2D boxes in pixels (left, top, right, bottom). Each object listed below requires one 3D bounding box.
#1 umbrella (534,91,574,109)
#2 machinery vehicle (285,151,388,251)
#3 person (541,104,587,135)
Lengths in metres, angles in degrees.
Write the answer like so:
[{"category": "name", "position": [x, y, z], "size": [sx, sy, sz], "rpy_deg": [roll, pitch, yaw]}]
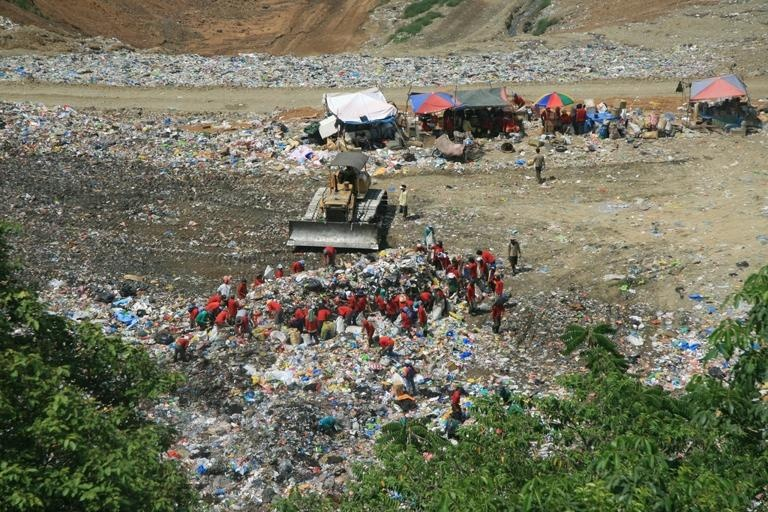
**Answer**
[{"category": "umbrella", "position": [6.714, -6.109, 27.200], "size": [1.967, 1.720, 0.513], "rpy_deg": [-5, -74, 3]}, {"category": "machinery vehicle", "position": [-1.176, -1.853, 21.002], "size": [2.870, 3.387, 1.678], "rpy_deg": [6, -51, 13]}, {"category": "person", "position": [6.942, -5.218, 26.763], "size": [1.523, 1.343, 0.749], "rpy_deg": [3, -70, 10]}]
